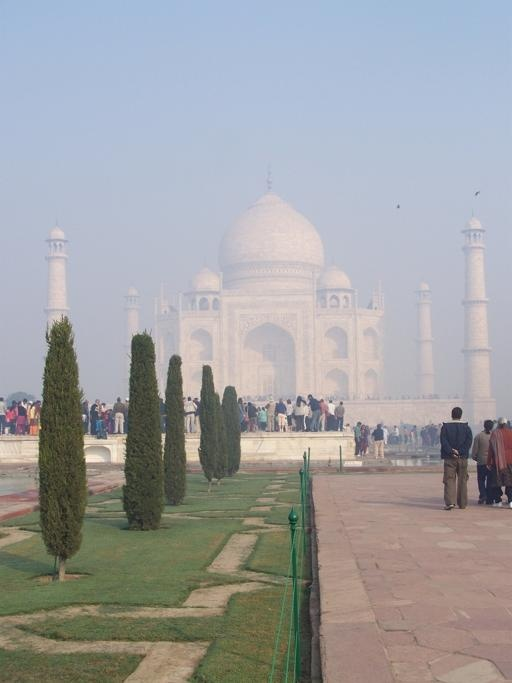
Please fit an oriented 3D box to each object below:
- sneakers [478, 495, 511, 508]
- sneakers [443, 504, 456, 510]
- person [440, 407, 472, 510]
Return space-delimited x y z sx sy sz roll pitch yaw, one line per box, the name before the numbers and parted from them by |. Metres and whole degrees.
sneakers | 2.004 1.364 10.268 0.262 0.184 0.091 2 -2 20
sneakers | 1.529 1.347 9.735 0.038 0.049 0.115 3 6 25
person | 1.657 0.977 10.150 0.246 0.834 0.975 -1 -4 10
